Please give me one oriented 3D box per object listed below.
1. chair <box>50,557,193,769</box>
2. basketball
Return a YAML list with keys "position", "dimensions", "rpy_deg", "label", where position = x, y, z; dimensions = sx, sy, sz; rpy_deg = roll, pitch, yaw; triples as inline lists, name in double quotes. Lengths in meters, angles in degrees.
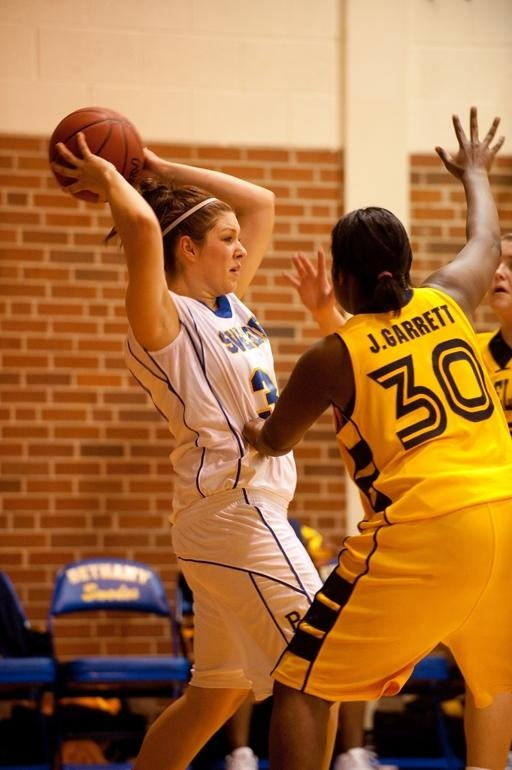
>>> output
- position: [-0.486, 0.816, 3.136]
  dimensions: [0.559, 0.791, 0.650]
  rpy_deg: [1, -35, -15]
  label: "chair"
- position: [-0.410, -0.590, 2.386]
  dimensions: [0.251, 0.234, 0.215]
  rpy_deg: [12, 31, -3]
  label: "basketball"
